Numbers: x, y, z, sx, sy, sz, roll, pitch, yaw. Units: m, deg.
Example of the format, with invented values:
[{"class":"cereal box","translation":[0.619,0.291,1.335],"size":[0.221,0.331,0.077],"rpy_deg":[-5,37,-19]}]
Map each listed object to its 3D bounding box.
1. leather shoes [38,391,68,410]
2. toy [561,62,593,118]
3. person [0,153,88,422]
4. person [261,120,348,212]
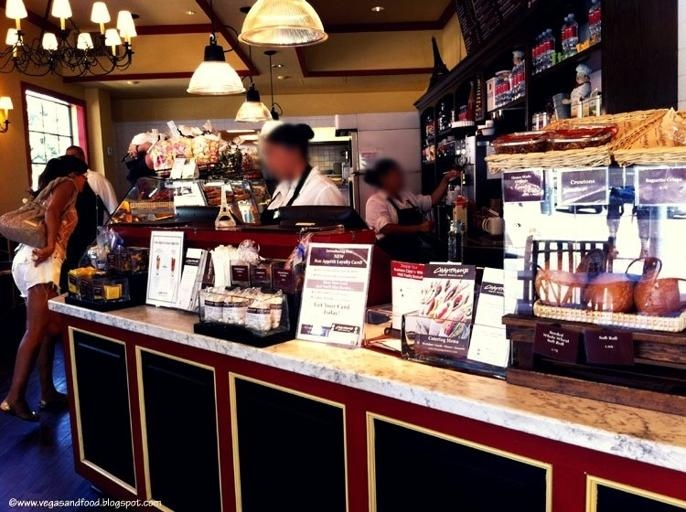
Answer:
[{"class":"leather shoes","translation":[-2.142,1.090,3.976],"size":[0.086,0.099,0.244],"rpy_deg":[2,3,3]},{"class":"toy","translation":[1.594,-1.108,3.599],"size":[0.188,0.343,0.337],"rpy_deg":[2,5,12]},{"class":"person","translation":[-2.256,0.179,3.998],"size":[0.441,1.913,0.752],"rpy_deg":[0,5,-9]},{"class":"person","translation":[-0.302,-0.543,3.514],"size":[0.455,0.679,0.818],"rpy_deg":[-8,8,-37]}]
